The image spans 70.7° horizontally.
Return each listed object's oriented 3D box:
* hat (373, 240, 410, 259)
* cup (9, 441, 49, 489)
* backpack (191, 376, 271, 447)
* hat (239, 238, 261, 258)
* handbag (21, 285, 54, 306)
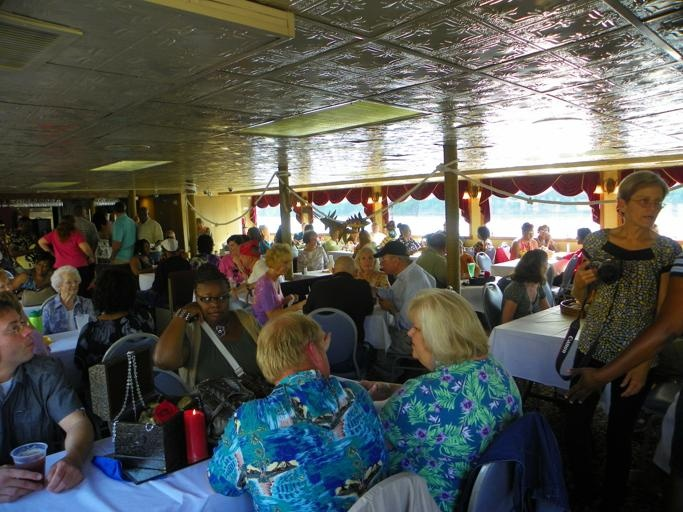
[{"bbox_3d":[0.444,-0.060,4.351,0.267,0.104,0.167,7,2,15],"label":"hat"},{"bbox_3d":[-1.115,0.733,1.721,0.151,0.121,0.148,-5,-8,-1],"label":"cup"},{"bbox_3d":[-0.445,0.574,1.929,0.319,0.098,0.305,-8,12,-37],"label":"backpack"},{"bbox_3d":[-1.110,-0.091,5.828,0.287,0.193,0.195,-7,14,-22],"label":"hat"},{"bbox_3d":[-2.946,0.361,4.658,0.239,0.183,0.225,-3,8,-43],"label":"handbag"}]
